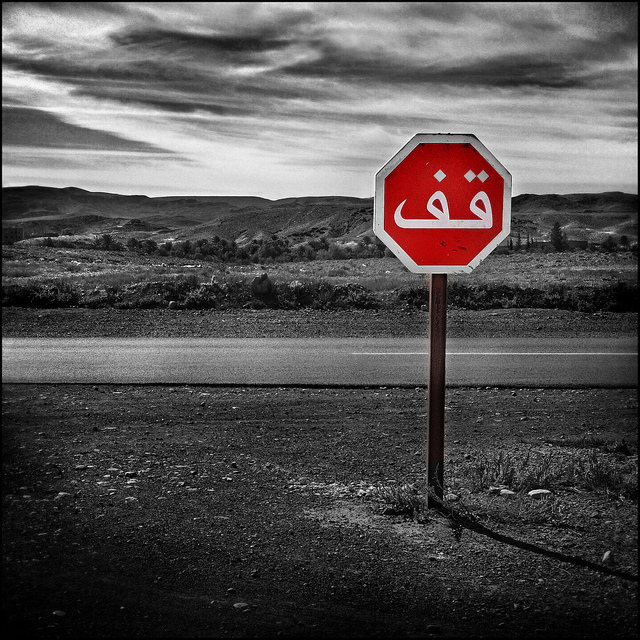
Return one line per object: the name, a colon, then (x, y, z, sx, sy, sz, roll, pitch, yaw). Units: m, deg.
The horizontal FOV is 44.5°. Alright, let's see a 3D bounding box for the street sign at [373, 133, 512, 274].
street sign: (0.870, -0.819, 5.546, 1.067, 1.285, 0.167, -1, 8, 3)
